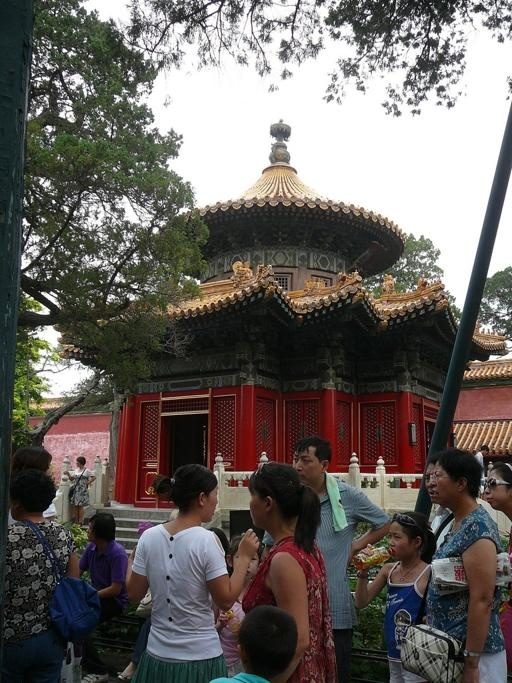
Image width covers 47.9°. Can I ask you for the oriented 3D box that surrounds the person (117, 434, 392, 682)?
[{"bbox_3d":[-0.039,1.578,3.765,1.082,2.268,0.936,16,-38,-17],"label":"person"}]

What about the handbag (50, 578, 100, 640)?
[{"bbox_3d":[-0.852,1.225,2.757,0.130,0.276,0.215,-25,-23,14],"label":"handbag"}]

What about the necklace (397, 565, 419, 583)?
[{"bbox_3d":[0.741,1.120,2.780,0.020,0.077,0.078,9,2,-18],"label":"necklace"}]
